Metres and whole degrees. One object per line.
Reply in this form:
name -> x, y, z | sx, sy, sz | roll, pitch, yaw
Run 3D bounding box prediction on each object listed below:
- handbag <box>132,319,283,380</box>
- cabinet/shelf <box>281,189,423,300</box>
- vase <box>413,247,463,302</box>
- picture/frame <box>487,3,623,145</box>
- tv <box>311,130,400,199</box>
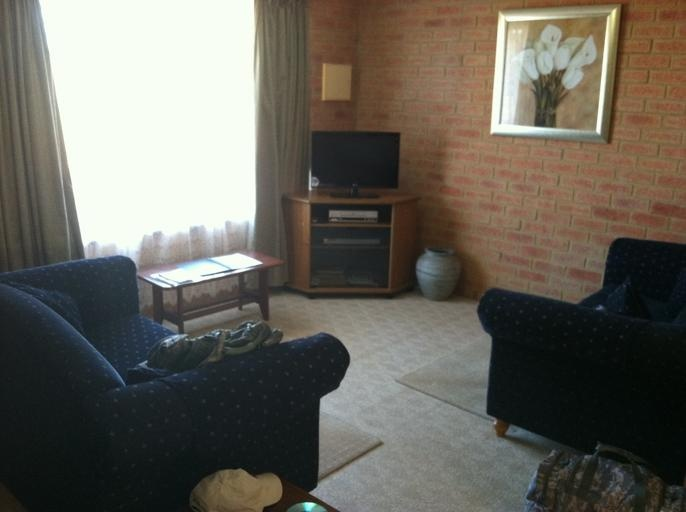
handbag -> -0.647, 0.433, 2.505 | 0.435, 0.120, 0.154 | -14, 30, -30
cabinet/shelf -> 0.029, -0.099, 5.084 | 0.960, 0.730, 0.347 | 0, 15, 0
vase -> 0.867, 0.160, 4.985 | 0.439, 0.519, 0.454 | 1, 3, 1
picture/frame -> 1.743, -1.491, 4.388 | 1.112, 1.164, 0.086 | 10, 16, 33
tv -> 0.109, -0.878, 5.067 | 0.809, 0.579, 0.223 | 1, -3, 4
